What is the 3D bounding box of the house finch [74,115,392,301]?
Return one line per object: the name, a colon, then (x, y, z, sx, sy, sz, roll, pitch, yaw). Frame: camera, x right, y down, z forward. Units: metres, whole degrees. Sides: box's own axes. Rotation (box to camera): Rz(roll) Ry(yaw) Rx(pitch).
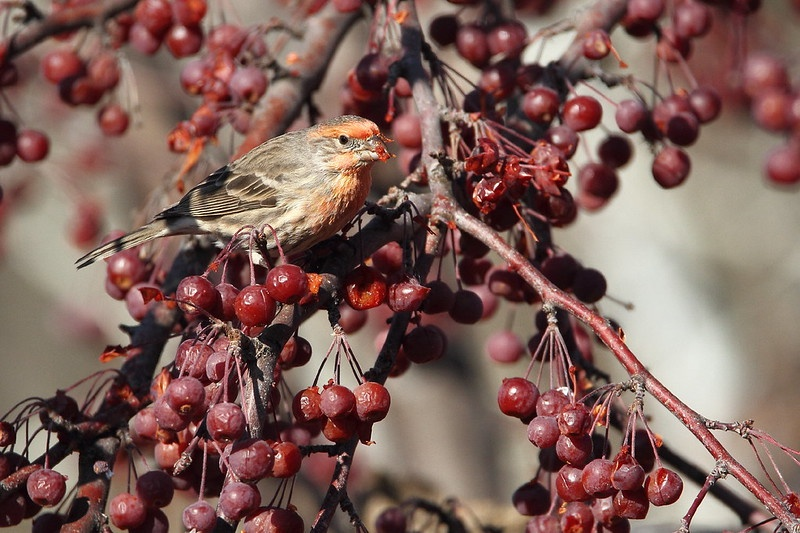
house finch: (-1.222, -0.526, 6.519, 2.183, 1.119, 0.629, 4, 17, 9)
